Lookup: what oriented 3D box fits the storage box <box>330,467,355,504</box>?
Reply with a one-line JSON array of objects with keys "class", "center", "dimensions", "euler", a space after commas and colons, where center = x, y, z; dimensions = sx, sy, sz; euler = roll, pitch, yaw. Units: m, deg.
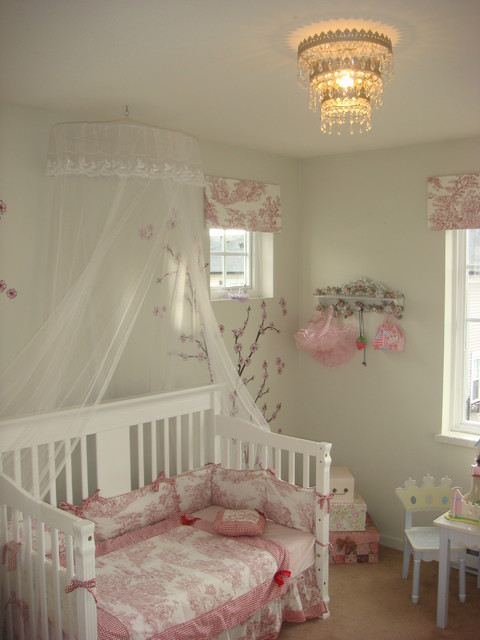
[{"class": "storage box", "center": [0.657, 1.087, 3.705], "dimensions": [0.185, 0.151, 0.319], "euler": [1, 1, 5]}]

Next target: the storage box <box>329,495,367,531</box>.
[{"class": "storage box", "center": [0.706, 1.259, 3.711], "dimensions": [0.259, 0.210, 0.190], "euler": [1, 0, 4]}]

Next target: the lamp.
[{"class": "lamp", "center": [0.364, -0.821, 1.959], "dimensions": [0.298, 0.240, 0.301], "euler": [6, 11, 36]}]
